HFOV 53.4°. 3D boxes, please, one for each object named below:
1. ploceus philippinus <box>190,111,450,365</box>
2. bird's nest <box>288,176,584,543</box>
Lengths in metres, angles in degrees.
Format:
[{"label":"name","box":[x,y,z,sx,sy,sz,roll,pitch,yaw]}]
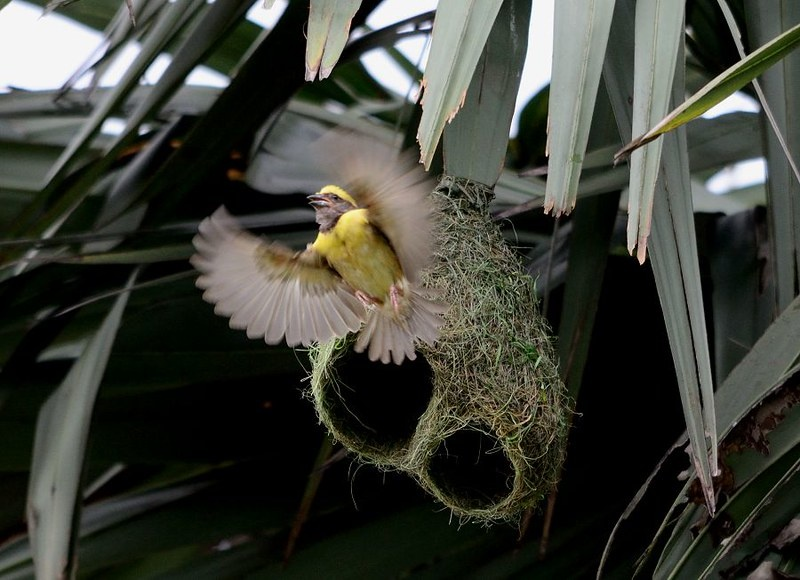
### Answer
[{"label":"ploceus philippinus","box":[-0.170,-0.075,2.254,0.768,0.469,0.385,-33,42,5]},{"label":"bird's nest","box":[0.098,0.198,2.624,0.943,1.084,0.499,1,2,-20]}]
